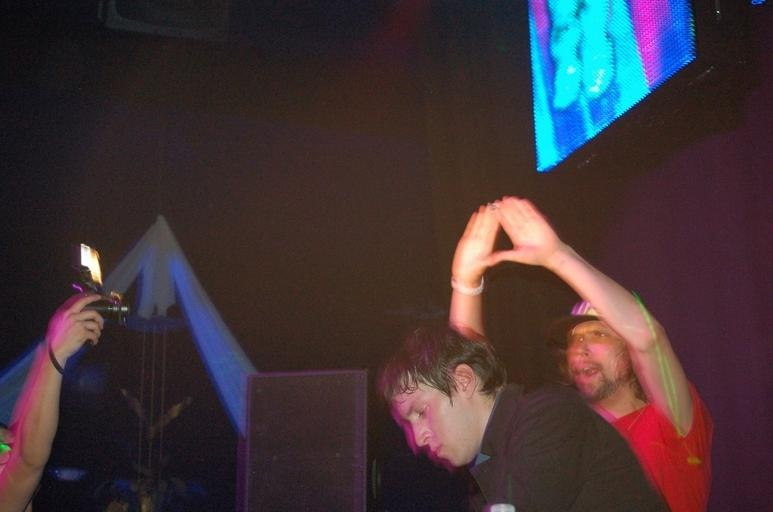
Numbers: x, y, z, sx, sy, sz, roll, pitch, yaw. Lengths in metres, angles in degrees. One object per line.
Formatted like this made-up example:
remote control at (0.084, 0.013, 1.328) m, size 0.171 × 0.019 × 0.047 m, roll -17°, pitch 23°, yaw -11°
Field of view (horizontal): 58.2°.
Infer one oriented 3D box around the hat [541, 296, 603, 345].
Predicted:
hat at (0.941, 0.347, 3.571) m, size 0.275 × 0.134 × 0.173 m, roll -17°, pitch -22°, yaw 0°

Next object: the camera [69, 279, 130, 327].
camera at (-1.447, 0.264, 3.673) m, size 0.340 × 0.207 × 0.177 m, roll 18°, pitch -11°, yaw -3°

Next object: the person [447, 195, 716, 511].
person at (0.993, 0.473, 3.460) m, size 1.112 × 1.497 × 0.484 m, roll 3°, pitch -25°, yaw -12°

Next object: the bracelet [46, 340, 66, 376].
bracelet at (-1.699, 0.531, 3.591) m, size 0.030 × 0.126 × 0.118 m, roll -25°, pitch 13°, yaw -1°
